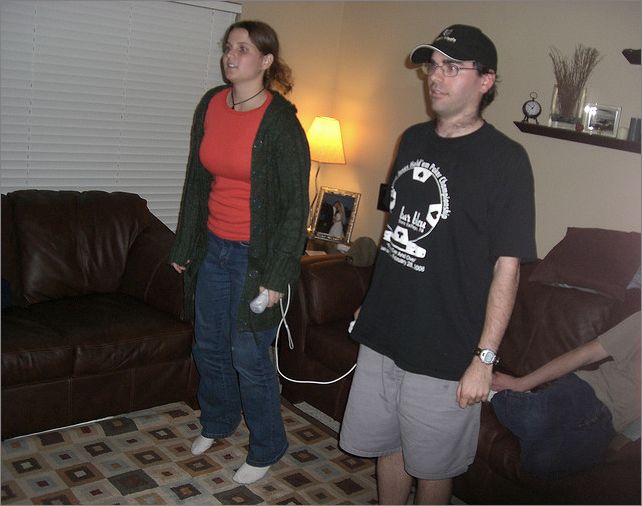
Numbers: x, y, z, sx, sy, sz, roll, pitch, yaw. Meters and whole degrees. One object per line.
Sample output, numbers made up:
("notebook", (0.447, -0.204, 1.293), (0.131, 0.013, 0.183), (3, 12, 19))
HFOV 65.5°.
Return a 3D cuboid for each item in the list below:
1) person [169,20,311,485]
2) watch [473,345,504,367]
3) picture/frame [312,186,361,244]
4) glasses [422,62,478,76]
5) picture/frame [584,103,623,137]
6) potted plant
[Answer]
("person", (-0.341, 0.039, 2.210), (0.368, 2.003, 0.559), (-9, 19, -41))
("watch", (0.514, 0.324, 1.562), (0.074, 0.047, 0.070), (38, -3, -20))
("picture/frame", (0.125, -0.288, 3.890), (0.395, 0.475, 0.050), (11, -12, 15))
("glasses", (0.401, -0.573, 1.555), (0.156, 0.044, 0.055), (12, 16, 30))
("picture/frame", (1.538, -0.721, 2.711), (0.176, 0.160, 0.018), (17, 6, 39))
("potted plant", (1.403, -0.965, 2.867), (0.137, 0.460, 0.302), (-4, 16, -27))
